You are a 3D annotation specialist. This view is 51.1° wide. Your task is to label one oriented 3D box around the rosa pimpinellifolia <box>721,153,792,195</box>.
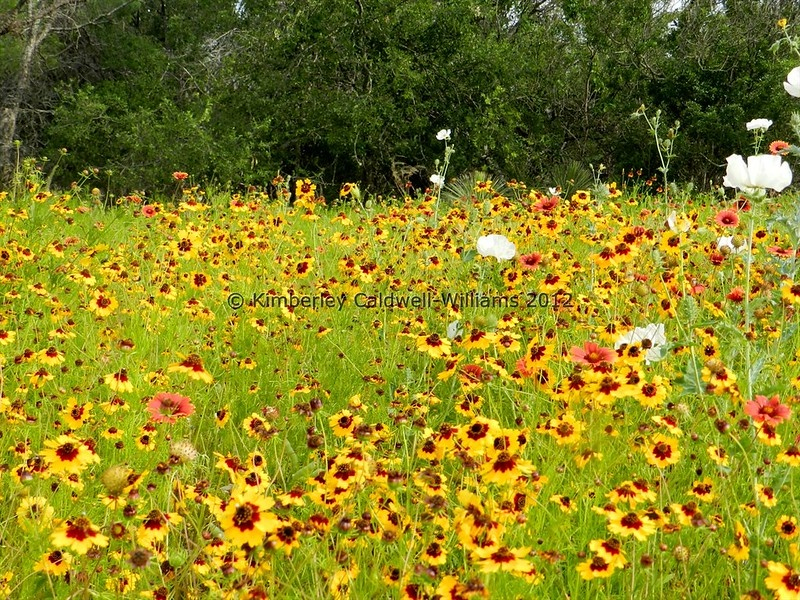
[{"bbox_3d":[1.599,-0.568,3.753,0.219,0.162,0.239,1,0,10],"label":"rosa pimpinellifolia"}]
